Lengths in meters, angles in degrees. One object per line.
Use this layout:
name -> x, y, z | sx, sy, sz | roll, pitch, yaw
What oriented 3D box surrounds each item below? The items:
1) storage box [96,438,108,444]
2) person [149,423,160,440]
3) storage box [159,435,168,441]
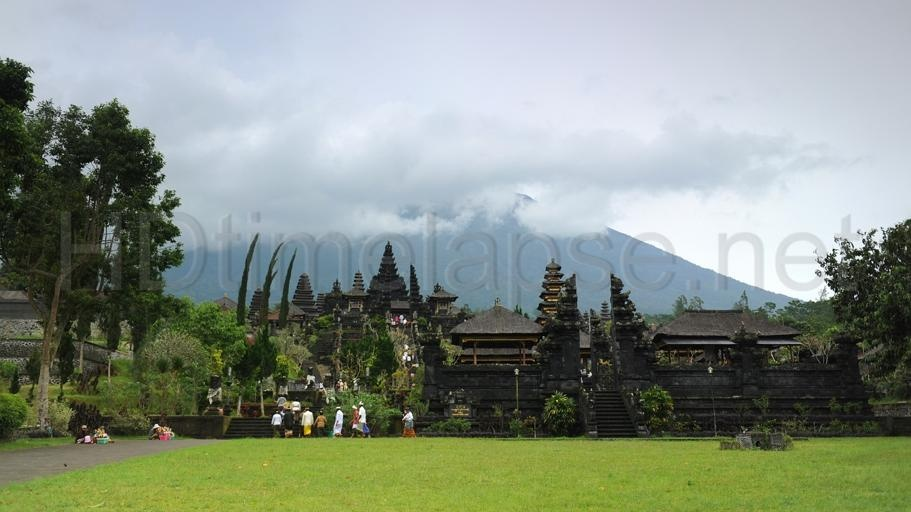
storage box -> -22.996, 11.996, 69.482 | 0.827, 0.383, 0.565 | 1, -13, -16
person -> -20.658, 12.097, 73.446 | 0.635, 1.148, 2.192 | 1, -13, -18
storage box -> -19.782, 12.358, 72.447 | 0.622, 0.369, 1.224 | 1, -13, -17
